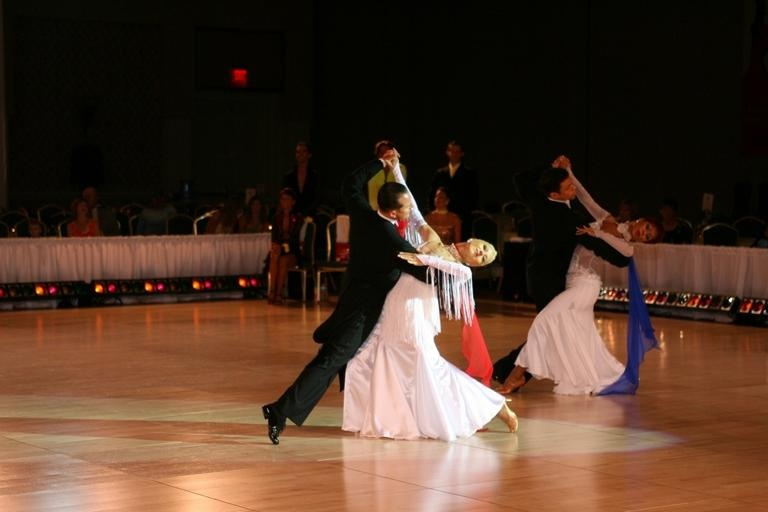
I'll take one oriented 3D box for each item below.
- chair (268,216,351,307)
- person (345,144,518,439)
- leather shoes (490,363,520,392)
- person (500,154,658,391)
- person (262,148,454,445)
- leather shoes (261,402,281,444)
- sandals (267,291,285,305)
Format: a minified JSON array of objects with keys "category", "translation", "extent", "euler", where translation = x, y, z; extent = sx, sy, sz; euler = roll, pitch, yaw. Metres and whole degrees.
[{"category":"chair","translation":[-1.202,0.191,12.614],"extent":[1.232,1.820,1.377],"euler":[1,-8,5]},{"category":"person","translation":[0.293,0.279,5.539],"extent":[1.116,1.986,1.307],"euler":[5,-4,42]},{"category":"leather shoes","translation":[1.061,1.079,6.800],"extent":[0.137,0.206,0.312],"euler":[-9,6,-44]},{"category":"person","translation":[1.644,0.170,6.845],"extent":[1.370,1.822,1.178],"euler":[3,13,33]},{"category":"person","translation":[-0.241,0.301,5.350],"extent":[1.008,1.869,0.432],"euler":[1,4,-4]},{"category":"leather shoes","translation":[-0.742,1.122,5.248],"extent":[0.124,0.282,0.184],"euler":[0,3,-8]},{"category":"sandals","translation":[-1.673,0.649,12.099],"extent":[0.187,0.126,0.497],"euler":[0,-7,-6]}]
